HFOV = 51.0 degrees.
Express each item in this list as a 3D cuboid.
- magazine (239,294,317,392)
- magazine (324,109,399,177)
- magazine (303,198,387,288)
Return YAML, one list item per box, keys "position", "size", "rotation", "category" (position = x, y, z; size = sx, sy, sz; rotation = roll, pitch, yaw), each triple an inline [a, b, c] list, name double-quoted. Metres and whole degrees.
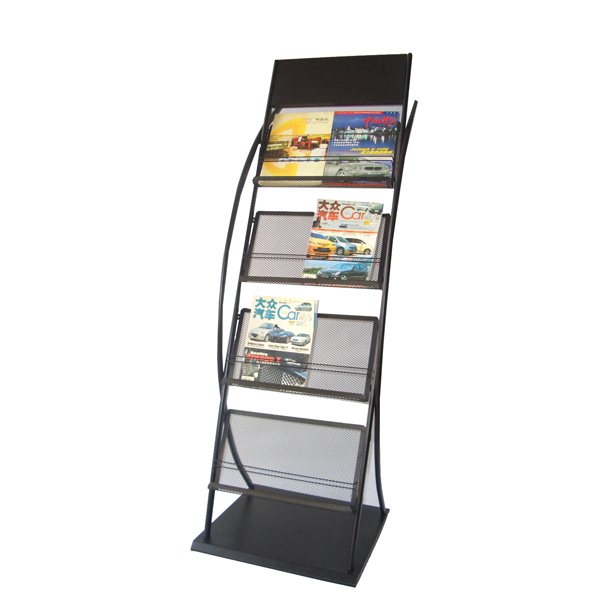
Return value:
- position: [-0.080, 0.196, 2.561]
  size: [0.423, 0.443, 0.036]
  rotation: [7, -16, 10]
  category: "magazine"
- position: [0.237, -0.638, 2.599]
  size: [0.345, 0.303, 0.012]
  rotation: [10, 17, 32]
  category: "magazine"
- position: [0.169, -0.245, 2.576]
  size: [0.283, 0.350, 0.140]
  rotation: [11, 1, 9]
  category: "magazine"
